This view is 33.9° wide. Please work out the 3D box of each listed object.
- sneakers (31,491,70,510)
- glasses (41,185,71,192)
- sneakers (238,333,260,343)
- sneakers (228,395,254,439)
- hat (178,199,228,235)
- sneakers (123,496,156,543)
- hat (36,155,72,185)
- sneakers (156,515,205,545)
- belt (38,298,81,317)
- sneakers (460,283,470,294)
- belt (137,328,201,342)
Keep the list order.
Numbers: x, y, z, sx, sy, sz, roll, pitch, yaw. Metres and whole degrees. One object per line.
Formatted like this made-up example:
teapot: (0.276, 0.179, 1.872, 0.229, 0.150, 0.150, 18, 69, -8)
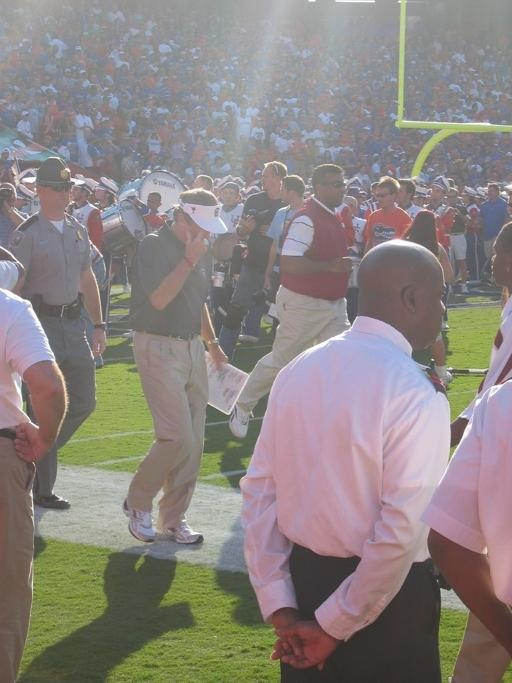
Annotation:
sneakers: (-1.082, 0.862, 4.485, 0.214, 0.079, 0.074, 1, 0, -3)
glasses: (-1.044, -0.800, 4.353, 0.168, 0.051, 0.102, -3, 10, -14)
sneakers: (-0.086, -0.028, 9.532, 0.206, 0.120, 0.182, -1, 10, -2)
sneakers: (-0.102, 0.535, 5.892, 0.126, 0.318, 0.147, 0, -4, -24)
hat: (-0.250, -0.553, 3.979, 0.227, 0.076, 0.154, 35, 24, 8)
sneakers: (-0.563, 0.869, 4.057, 0.149, 0.215, 0.203, -3, 11, -9)
hat: (-1.057, -0.878, 4.367, 0.174, 0.153, 0.182, -3, 10, -13)
sneakers: (-0.366, 0.936, 4.118, 0.265, 0.104, 0.092, 3, -5, 23)
belt: (-1.026, -0.167, 4.435, 0.093, 0.115, 0.268, 6, 12, 34)
sneakers: (3.625, -0.922, 14.607, 0.127, 0.186, 0.601, 2, 10, 14)
belt: (-0.425, -0.026, 4.042, 0.314, 0.056, 0.162, -2, 9, -8)
